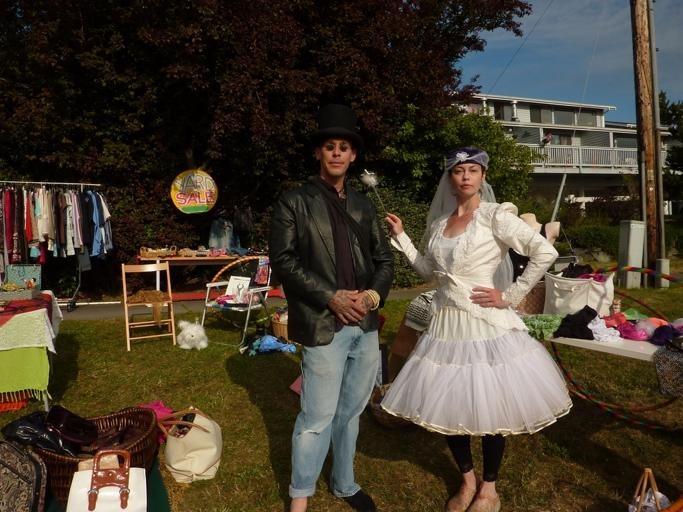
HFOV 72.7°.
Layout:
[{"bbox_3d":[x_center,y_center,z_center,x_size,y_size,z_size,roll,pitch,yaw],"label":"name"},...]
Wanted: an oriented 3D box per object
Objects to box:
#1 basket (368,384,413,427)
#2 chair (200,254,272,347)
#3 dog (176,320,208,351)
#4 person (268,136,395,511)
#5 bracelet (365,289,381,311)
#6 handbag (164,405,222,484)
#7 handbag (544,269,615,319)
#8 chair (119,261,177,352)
[{"bbox_3d":[0.450,1.619,4.972,0.597,0.375,0.547,0,0,15],"label":"basket"},{"bbox_3d":[-1.795,0.736,7.963,1.116,1.417,1.206,-1,6,-19],"label":"chair"},{"bbox_3d":[-2.390,1.268,7.465,0.324,0.292,0.558,1,2,-10],"label":"dog"},{"bbox_3d":[-0.072,0.532,3.626,0.954,3.018,0.454,0,4,-14],"label":"person"},{"bbox_3d":[0.246,0.326,3.557,0.076,0.138,0.148,-20,35,-4],"label":"bracelet"},{"bbox_3d":[-1.348,1.688,4.207,0.512,0.589,0.356,0,4,-15],"label":"handbag"},{"bbox_3d":[2.194,0.346,4.271,0.478,0.453,0.481,3,-5,-41],"label":"handbag"},{"bbox_3d":[-3.202,0.784,7.710,0.967,1.339,0.904,11,14,44],"label":"chair"}]
